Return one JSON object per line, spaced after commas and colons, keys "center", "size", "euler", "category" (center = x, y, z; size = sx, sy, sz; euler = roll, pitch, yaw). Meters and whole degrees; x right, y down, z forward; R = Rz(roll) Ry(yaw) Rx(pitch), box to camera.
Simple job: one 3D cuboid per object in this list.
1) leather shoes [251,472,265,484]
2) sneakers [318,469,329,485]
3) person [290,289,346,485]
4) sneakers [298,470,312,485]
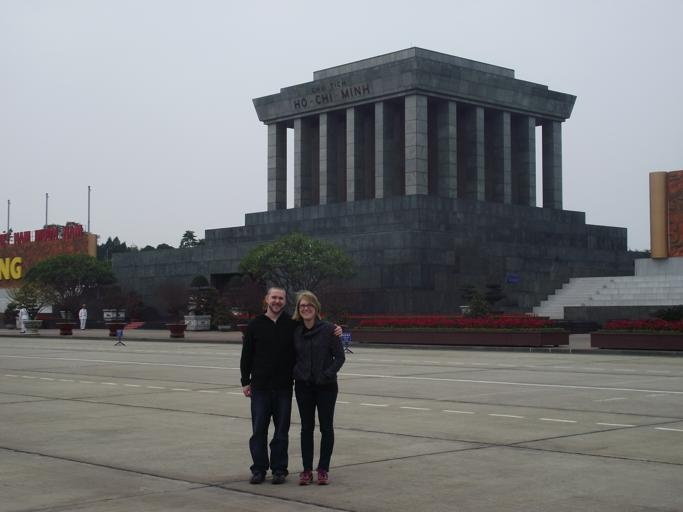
{"center": [-1.111, 2.968, 11.837], "size": [0.233, 0.145, 0.146], "euler": [2, -4, -25], "category": "leather shoes"}
{"center": [-0.232, 2.946, 11.780], "size": [0.169, 0.189, 0.166], "euler": [1, -4, -10], "category": "sneakers"}
{"center": [-0.307, 1.780, 12.000], "size": [0.663, 2.557, 0.498], "euler": [0, -4, -3], "category": "person"}
{"center": [-0.464, 2.959, 11.835], "size": [0.181, 0.185, 0.244], "euler": [0, -4, -3], "category": "sneakers"}
